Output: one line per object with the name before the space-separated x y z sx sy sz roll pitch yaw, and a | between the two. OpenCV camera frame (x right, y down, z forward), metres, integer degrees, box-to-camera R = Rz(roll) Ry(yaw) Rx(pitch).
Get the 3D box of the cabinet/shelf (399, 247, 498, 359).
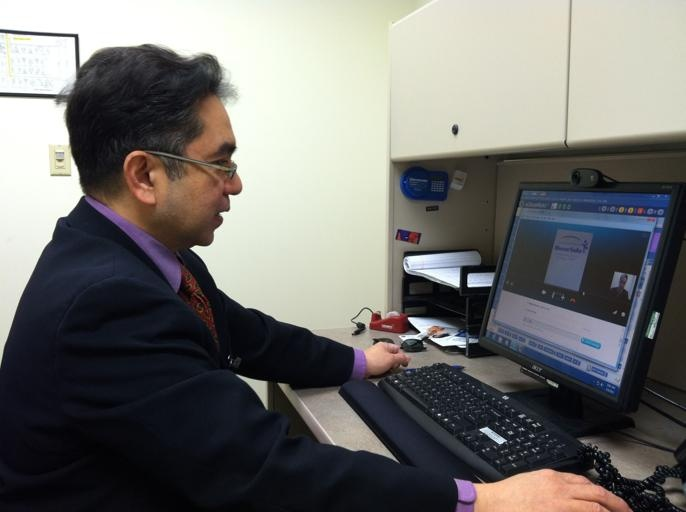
cabinet/shelf | 0.353 0.124 1.720 0.299 0.272 0.395 1 3 -21
